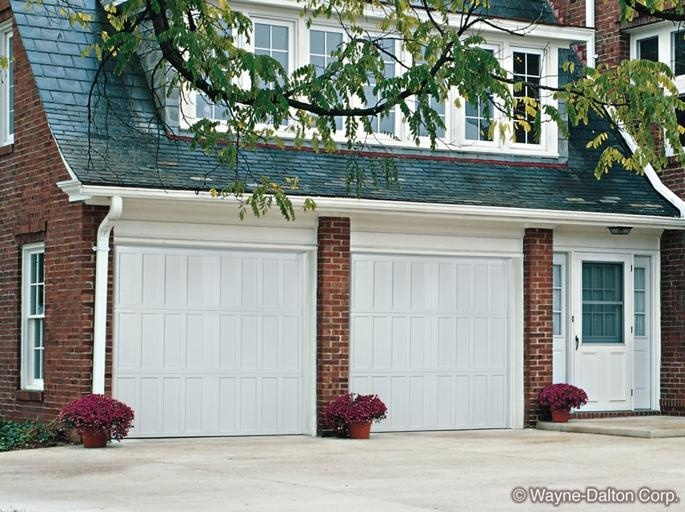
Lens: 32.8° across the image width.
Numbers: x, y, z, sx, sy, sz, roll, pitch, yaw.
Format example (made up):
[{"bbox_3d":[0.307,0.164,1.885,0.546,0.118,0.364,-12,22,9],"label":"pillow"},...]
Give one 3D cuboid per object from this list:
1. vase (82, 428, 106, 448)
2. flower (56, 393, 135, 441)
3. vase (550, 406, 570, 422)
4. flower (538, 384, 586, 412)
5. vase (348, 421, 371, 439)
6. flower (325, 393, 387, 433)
[{"bbox_3d":[-3.641,2.676,17.083,0.300,0.222,0.309,1,-10,-8],"label":"vase"},{"bbox_3d":[-3.570,2.301,16.946,0.764,0.578,0.756,1,-3,-7],"label":"flower"},{"bbox_3d":[3.799,2.758,20.235,0.264,0.183,0.273,2,-11,-2],"label":"vase"},{"bbox_3d":[3.804,2.429,20.163,0.550,0.405,0.575,-1,-2,5],"label":"flower"},{"bbox_3d":[0.278,2.762,18.543,0.302,0.237,0.311,1,-7,-8],"label":"vase"},{"bbox_3d":[0.197,2.520,18.624,0.983,0.699,0.508,-1,-7,-3],"label":"flower"}]
